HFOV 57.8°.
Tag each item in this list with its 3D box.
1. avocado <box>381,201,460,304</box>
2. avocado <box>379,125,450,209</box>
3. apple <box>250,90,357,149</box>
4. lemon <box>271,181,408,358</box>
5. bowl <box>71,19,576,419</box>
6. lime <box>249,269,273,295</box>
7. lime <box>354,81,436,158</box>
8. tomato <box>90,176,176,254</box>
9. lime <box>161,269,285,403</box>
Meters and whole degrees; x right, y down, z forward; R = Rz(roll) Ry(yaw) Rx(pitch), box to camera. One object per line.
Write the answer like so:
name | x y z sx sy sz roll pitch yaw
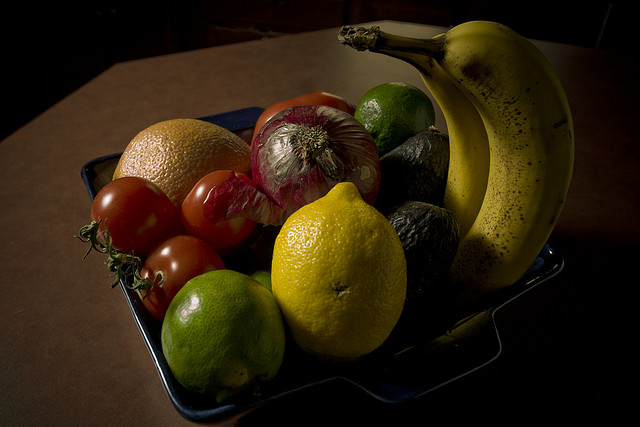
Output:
avocado | 0.187 0.079 1.177 0.133 0.190 0.140 10 -1 38
avocado | 0.197 -0.089 1.199 0.146 0.161 0.142 13 28 22
apple | -0.050 -0.278 1.356 0.181 0.187 0.176 -9 18 -2
lemon | 0.032 0.110 1.137 0.269 0.359 0.285 12 -1 -8
bowl | 0.006 0.024 1.135 0.752 0.217 0.938 -18 49 -13
lime | -0.118 0.129 1.142 0.037 0.039 0.038 -10 37 -30
lime | 0.166 -0.239 1.348 0.149 0.165 0.193 13 28 20
tomato | -0.379 0.007 1.183 0.143 0.178 0.142 -7 26 -21
lime | -0.168 0.209 1.012 0.191 0.227 0.216 -2 -10 7
